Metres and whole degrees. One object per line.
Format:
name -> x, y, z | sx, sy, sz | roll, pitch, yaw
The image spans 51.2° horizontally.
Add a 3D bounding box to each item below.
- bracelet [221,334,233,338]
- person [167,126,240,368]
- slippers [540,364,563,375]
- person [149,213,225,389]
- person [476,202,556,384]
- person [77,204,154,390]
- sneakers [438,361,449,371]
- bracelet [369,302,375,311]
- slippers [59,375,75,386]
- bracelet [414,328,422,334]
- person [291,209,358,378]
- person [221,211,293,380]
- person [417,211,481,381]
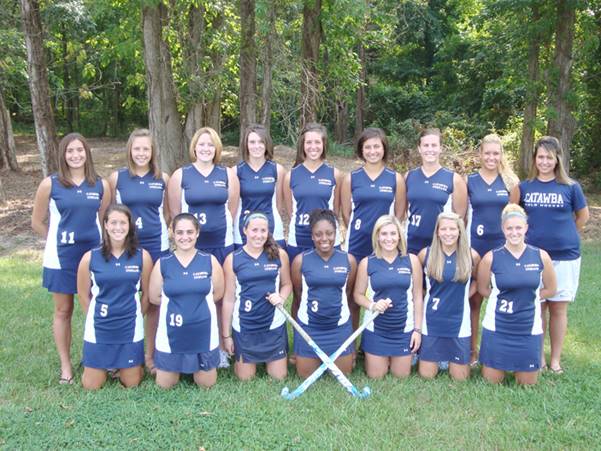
bracelet -> -0.970, 1.455, 8.238 | 0.123, 0.031, 0.116 | 1, 0, -29
person -> -1.314, 0.229, 8.606 | 1.009, 3.137, 0.807 | -6, 16, -20
slippers -> 3.307, 1.912, 8.275 | 0.119, 0.092, 0.325 | -6, 2, -39
person -> -1.470, 0.977, 8.081 | 0.933, 2.185, 0.754 | -1, 16, -11
person -> 2.840, 1.244, 8.291 | 0.893, 2.965, 0.639 | 1, 18, 17
person -> -2.376, 0.869, 8.117 | 0.876, 2.227, 0.718 | -2, 16, -24
sneakers -> 1.875, 1.844, 8.274 | 0.124, 0.101, 0.132 | 0, -1, -31
bracelet -> 0.919, 1.046, 8.057 | 0.063, 0.093, 0.093 | 7, -34, 1
slippers -> -2.923, 1.964, 7.947 | 0.221, 0.165, 0.079 | 13, -18, -12
bracelet -> 1.523, 1.384, 8.203 | 0.058, 0.036, 0.083 | 12, -19, 25
person -> 0.298, 1.277, 8.571 | 0.754, 3.113, 0.633 | -1, 21, 1
person -> -0.582, 0.968, 8.245 | 1.028, 2.314, 0.817 | -4, 16, -17
person -> 1.973, 1.224, 8.492 | 0.683, 3.021, 0.604 | 0, 24, 13
